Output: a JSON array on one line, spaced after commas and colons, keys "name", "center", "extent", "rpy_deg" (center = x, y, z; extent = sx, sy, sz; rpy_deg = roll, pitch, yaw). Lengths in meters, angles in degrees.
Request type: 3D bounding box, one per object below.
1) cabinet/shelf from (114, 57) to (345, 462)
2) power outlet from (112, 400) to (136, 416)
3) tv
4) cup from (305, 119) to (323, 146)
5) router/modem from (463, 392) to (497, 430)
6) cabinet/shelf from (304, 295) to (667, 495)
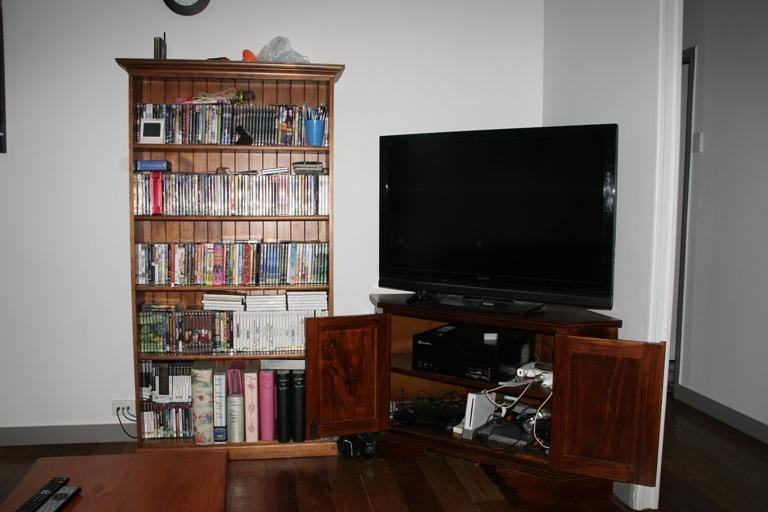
[{"name": "cabinet/shelf", "center": [-1.071, 0.018, 4.291], "extent": [1.488, 2.677, 0.557], "rpy_deg": [-3, 7, -5]}, {"name": "power outlet", "center": [-1.843, 1.076, 4.415], "extent": [0.160, 0.111, 0.022], "rpy_deg": [1, 4, -4]}, {"name": "tv", "center": [0.790, -0.228, 4.048], "extent": [1.289, 0.895, 0.114], "rpy_deg": [2, 5, 22]}, {"name": "cup", "center": [-0.472, -0.829, 4.260], "extent": [0.159, 0.168, 0.162], "rpy_deg": [0, -4, 0]}, {"name": "router/modem", "center": [0.629, 1.013, 4.055], "extent": [0.066, 0.148, 0.255], "rpy_deg": [-5, -3, 36]}, {"name": "cabinet/shelf", "center": [0.869, 0.378, 4.005], "extent": [2.095, 1.026, 1.208], "rpy_deg": [3, 5, 29]}]
